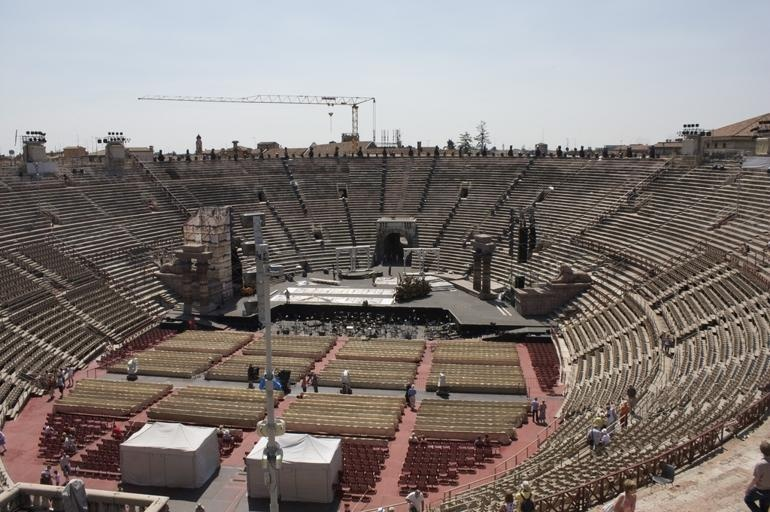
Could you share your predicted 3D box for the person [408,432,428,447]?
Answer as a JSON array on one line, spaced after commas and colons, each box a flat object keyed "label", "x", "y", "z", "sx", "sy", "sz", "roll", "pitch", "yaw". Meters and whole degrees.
[{"label": "person", "x": 2.114, "y": 11.316, "z": 38.537, "sx": 0.836, "sy": 0.411, "sz": 0.729, "roll": 1, "pitch": 9, "yaw": 2}]

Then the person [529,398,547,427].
[{"label": "person", "x": 10.205, "y": 10.290, "z": 41.425, "sx": 1.078, "sy": 1.382, "sz": 1.632, "roll": 3, "pitch": 3, "yaw": 12}]

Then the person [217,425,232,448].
[{"label": "person", "x": -9.754, "y": 11.268, "z": 38.799, "sx": 1.079, "sy": 1.171, "sz": 0.523, "roll": 3, "pitch": -7, "yaw": 19}]

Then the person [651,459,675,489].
[{"label": "person", "x": 11.331, "y": 8.756, "z": 25.188, "sx": 0.813, "sy": 1.062, "sz": 0.938, "roll": 2, "pitch": 0, "yaw": 42}]

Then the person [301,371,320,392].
[{"label": "person", "x": -5.596, "y": 9.518, "z": 47.325, "sx": 1.545, "sy": 1.283, "sz": 1.100, "roll": 1, "pitch": -1, "yaw": 1}]
